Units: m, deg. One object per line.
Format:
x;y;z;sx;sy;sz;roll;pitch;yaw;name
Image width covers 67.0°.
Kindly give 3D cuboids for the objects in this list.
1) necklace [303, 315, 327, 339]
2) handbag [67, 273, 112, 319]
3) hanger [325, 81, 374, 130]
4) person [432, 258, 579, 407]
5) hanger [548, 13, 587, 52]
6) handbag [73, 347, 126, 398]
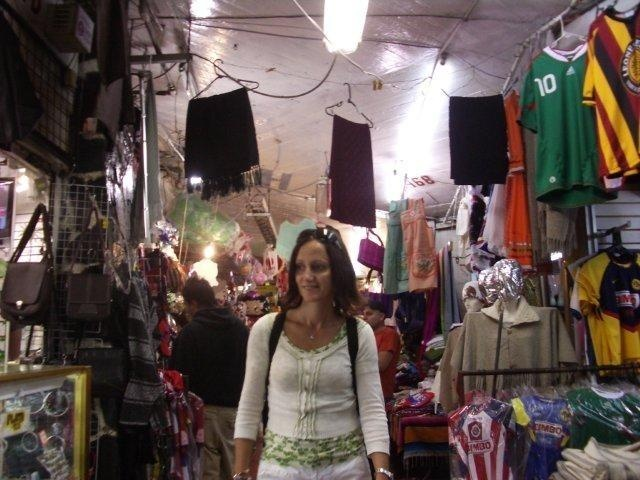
-0.027;0.410;2.247;0.063;0.097;0.030;0;-11;4;necklace
-1.502;0.367;3.136;0.239;0.283;0.114;-1;-18;-5;handbag
0.345;-1.577;5.565;0.636;0.441;0.036;5;1;-11;hanger
1.303;0.734;3.517;0.995;1.143;0.779;-7;-10;28;person
2.127;-1.789;4.185;0.273;0.324;0.348;-7;-10;29;hanger
-1.426;0.862;3.197;0.296;0.317;0.310;1;3;-11;handbag
